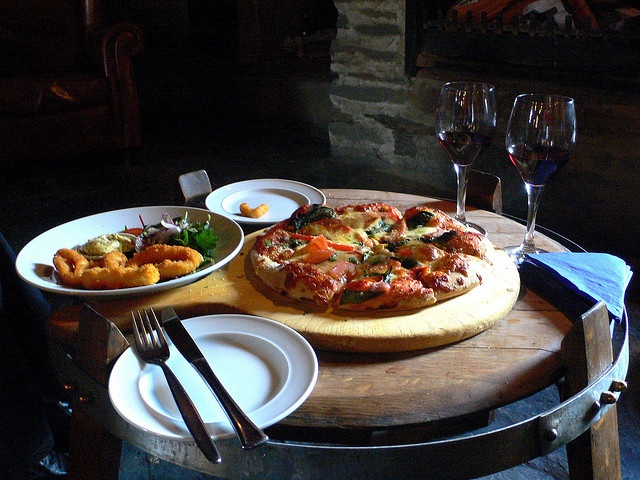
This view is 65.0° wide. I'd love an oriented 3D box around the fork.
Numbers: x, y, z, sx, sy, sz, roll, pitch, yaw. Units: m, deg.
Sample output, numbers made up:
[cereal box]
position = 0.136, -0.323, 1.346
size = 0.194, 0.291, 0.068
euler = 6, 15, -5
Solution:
[fork]
position = -0.201, 0.205, 0.709
size = 0.045, 0.039, 0.329
euler = -12, 46, -29
